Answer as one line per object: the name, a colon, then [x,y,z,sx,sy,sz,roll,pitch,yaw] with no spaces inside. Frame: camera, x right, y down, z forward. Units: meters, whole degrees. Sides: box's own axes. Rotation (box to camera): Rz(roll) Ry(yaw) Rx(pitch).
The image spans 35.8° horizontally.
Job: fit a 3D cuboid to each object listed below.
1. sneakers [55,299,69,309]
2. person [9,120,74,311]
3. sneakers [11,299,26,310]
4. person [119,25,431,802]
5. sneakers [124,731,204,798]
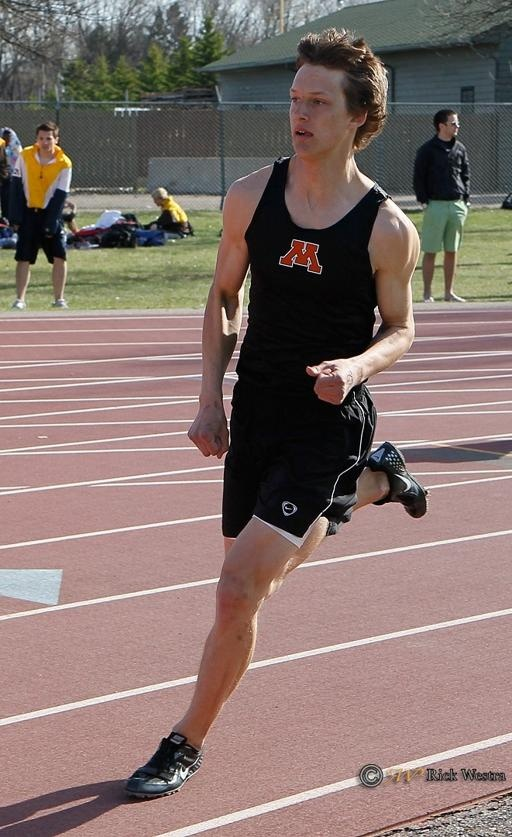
sneakers: [-2.827,-1.670,11.618,0.090,0.104,0.256,2,5,-36]
person: [-3.051,-2.818,11.213,0.896,2.511,0.764,-1,12,-22]
sneakers: [-3.440,-1.631,11.503,0.117,0.105,0.258,-1,-1,-6]
person: [0.079,-0.051,1.887,0.558,1.750,0.645,2,7,13]
sneakers: [-0.194,0.783,1.803,0.087,0.102,0.253,2,-7,26]
